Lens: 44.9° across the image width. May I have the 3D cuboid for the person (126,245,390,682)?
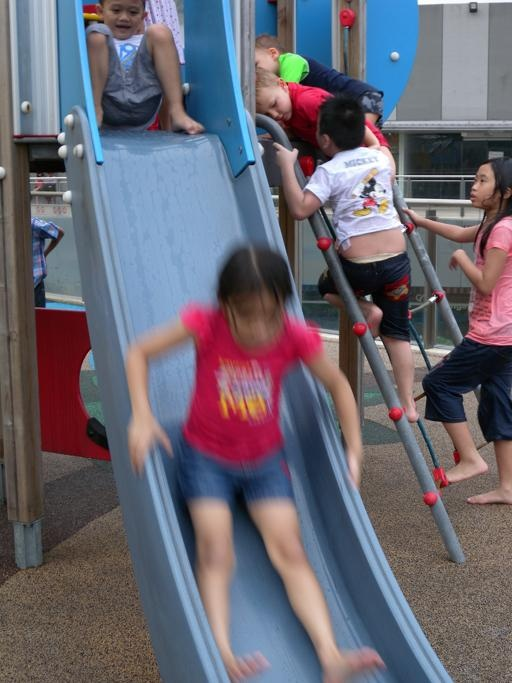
[{"bbox_3d":[0.011,0.260,1.445,0.583,0.953,0.432,-3,6,-13],"label":"person"}]
